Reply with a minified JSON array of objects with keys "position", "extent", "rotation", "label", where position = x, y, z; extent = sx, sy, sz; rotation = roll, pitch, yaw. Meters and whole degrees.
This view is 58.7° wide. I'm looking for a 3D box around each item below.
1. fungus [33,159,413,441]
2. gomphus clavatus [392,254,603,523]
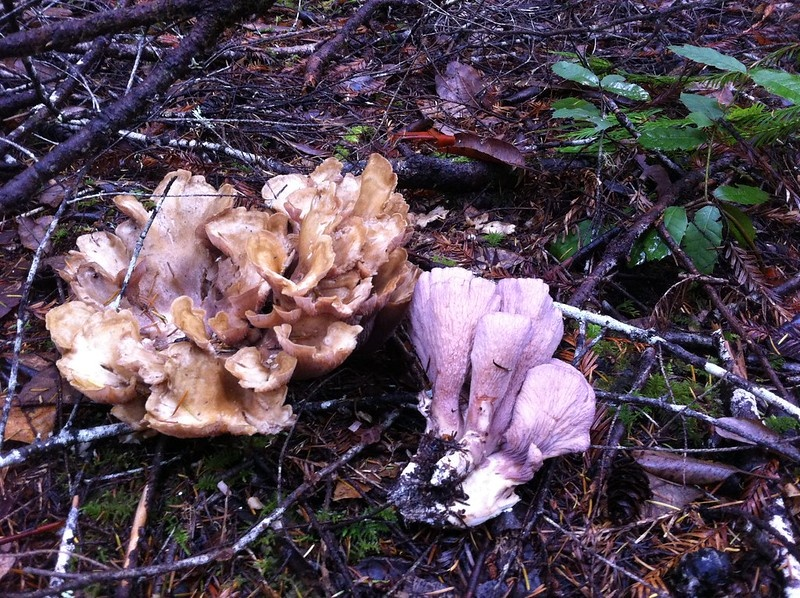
[{"position":[-0.983,-0.069,4.294],"extent":[1.703,0.885,2.011],"rotation":[35,63,16],"label":"fungus"},{"position":[0.555,0.554,4.123],"extent":[1.076,0.649,1.449],"rotation":[6,59,0],"label":"gomphus clavatus"}]
